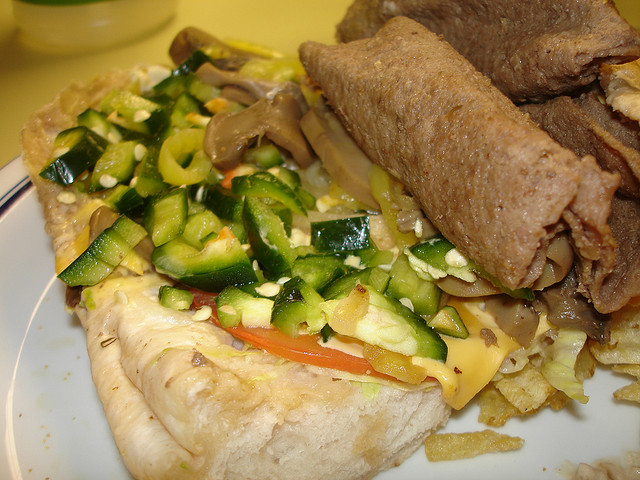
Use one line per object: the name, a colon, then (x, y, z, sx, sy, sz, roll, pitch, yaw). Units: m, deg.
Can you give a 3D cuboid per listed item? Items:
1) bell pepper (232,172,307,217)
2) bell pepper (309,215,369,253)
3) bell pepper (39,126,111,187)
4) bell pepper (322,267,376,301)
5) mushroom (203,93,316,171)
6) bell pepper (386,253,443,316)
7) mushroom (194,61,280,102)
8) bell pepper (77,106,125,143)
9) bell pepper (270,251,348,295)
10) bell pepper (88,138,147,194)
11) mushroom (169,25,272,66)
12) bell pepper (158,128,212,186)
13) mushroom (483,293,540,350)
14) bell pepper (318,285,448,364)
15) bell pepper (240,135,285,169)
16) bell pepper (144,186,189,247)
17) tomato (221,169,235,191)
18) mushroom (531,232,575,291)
bell pepper: (-0.236, -0.213, 3.331, 0.413, 0.125, 0.238, 20, 39, 12)
bell pepper: (0.095, -0.017, 3.319, 0.291, 0.118, 0.142, -1, 53, -7)
bell pepper: (-1.267, -0.441, 3.520, 0.301, 0.143, 0.316, 8, 53, -1)
bell pepper: (0.132, 0.208, 3.155, 0.173, 0.131, 0.218, -6, 17, -19)
mushroom: (-0.325, -0.544, 3.376, 0.437, 0.148, 0.383, -24, 79, -15)
bell pepper: (0.423, 0.237, 3.207, 0.240, 0.093, 0.262, 28, 25, 1)
mushroom: (-0.438, -0.816, 3.593, 0.382, 0.208, 0.160, 15, 73, 15)
bell pepper: (-1.184, -0.625, 3.648, 0.128, 0.220, 0.206, 15, 26, 37)
bell pepper: (-0.023, 0.136, 3.217, 0.292, 0.113, 0.191, -16, 50, -17)
bell pepper: (-1.032, -0.384, 3.485, 0.275, 0.275, 0.247, -7, 15, -21)
mushroom: (-0.743, -1.209, 4.186, 0.357, 0.119, 0.377, 22, 12, 20)
bell pepper: (-0.685, -0.402, 3.400, 0.264, 0.150, 0.253, -12, 56, -15)
mushroom: (0.907, 0.337, 3.179, 0.257, 0.219, 0.083, 49, 39, 11)
bell pepper: (0.287, 0.421, 3.069, 0.501, 0.107, 0.337, 19, 52, -12)
bell pepper: (-0.294, -0.440, 3.435, 0.138, 0.169, 0.172, -22, 33, -39)
bell pepper: (-0.744, -0.120, 3.301, 0.176, 0.249, 0.287, -6, 18, -23)
tomato: (-0.464, -0.298, 3.408, 0.035, 0.081, 0.083, 21, 32, -24)
mushroom: (1.032, 0.122, 3.023, 0.170, 0.336, 0.114, -13, 53, -15)
